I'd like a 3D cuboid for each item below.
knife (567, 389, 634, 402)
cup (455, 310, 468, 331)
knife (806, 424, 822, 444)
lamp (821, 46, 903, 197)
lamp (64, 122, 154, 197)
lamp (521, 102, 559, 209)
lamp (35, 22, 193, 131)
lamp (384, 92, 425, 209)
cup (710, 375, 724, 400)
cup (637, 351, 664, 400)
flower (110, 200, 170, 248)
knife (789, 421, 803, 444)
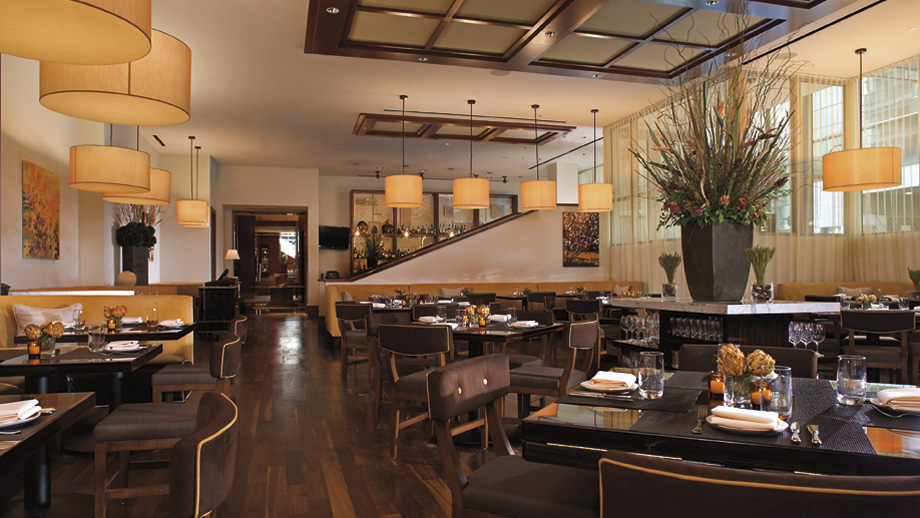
[{"bbox_3d":[1.000,0.967,4.527,0.435,0.025,0.130,1,12,8],"label":"knife"},{"bbox_3d":[0.018,0.661,7.021,0.191,0.266,0.183,-1,-3,0],"label":"cup"},{"bbox_3d":[2.261,1.115,4.061,0.056,0.028,0.155,-5,14,17],"label":"knife"},{"bbox_3d":[6.160,-2.073,9.721,0.916,2.314,3.464,7,14,29],"label":"lamp"},{"bbox_3d":[-4.149,-1.175,7.627,0.780,0.741,0.713,0,-1,-7],"label":"lamp"},{"bbox_3d":[1.416,-1.923,11.644,0.762,1.795,0.728,-14,16,-28],"label":"lamp"},{"bbox_3d":[-2.676,-1.339,4.988,1.020,0.408,0.955,3,3,22],"label":"lamp"},{"bbox_3d":[-0.982,-1.908,10.956,0.739,1.777,0.712,9,17,29],"label":"lamp"},{"bbox_3d":[1.807,0.897,4.501,0.076,0.150,0.089,-1,13,-2],"label":"cup"},{"bbox_3d":[1.354,0.800,4.547,0.201,0.324,0.261,4,14,17],"label":"cup"},{"bbox_3d":[-6.455,-0.703,13.006,0.993,1.184,0.941,4,-4,-43],"label":"flower"},{"bbox_3d":[2.142,1.113,4.075,0.049,0.019,0.229,-4,7,18],"label":"knife"}]
